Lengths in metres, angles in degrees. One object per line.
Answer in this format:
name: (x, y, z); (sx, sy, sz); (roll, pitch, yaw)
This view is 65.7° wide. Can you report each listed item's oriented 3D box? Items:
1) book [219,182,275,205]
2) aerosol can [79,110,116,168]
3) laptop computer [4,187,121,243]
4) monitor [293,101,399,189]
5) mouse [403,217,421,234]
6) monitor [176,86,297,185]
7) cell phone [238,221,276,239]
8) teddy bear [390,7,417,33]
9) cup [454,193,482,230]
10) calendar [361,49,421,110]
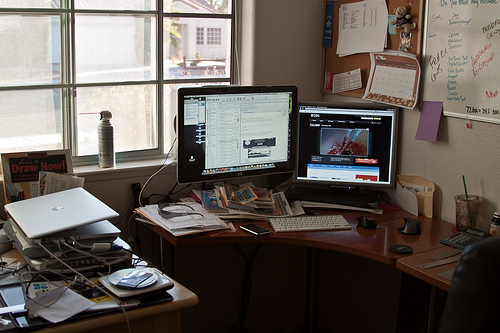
book: (-0.019, 0.145, 2.220); (0.179, 0.042, 0.171); (1, 17, -12)
aerosol can: (-0.854, -0.168, 2.263); (0.199, 0.318, 0.137); (0, 7, 16)
laptop computer: (-0.856, 0.218, 1.717); (0.321, 0.082, 0.413); (-13, 32, -21)
monitor: (0.590, -0.145, 2.298); (0.544, 0.432, 0.062); (3, 5, 8)
mouse: (0.842, 0.311, 2.005); (0.097, 0.060, 0.068); (1, -2, -17)
monitor: (-0.056, -0.195, 2.208); (0.740, 0.518, 0.053); (-6, 12, -23)
cell phone: (0.039, 0.327, 1.982); (0.126, 0.021, 0.222); (-7, 20, -37)
teddy bear: (0.877, -0.841, 2.216); (0.048, 0.134, 0.147); (-8, 13, -31)
cup: (1.137, 0.247, 2.016); (0.141, 0.165, 0.124); (-12, 6, 13)
calendar: (0.842, -0.510, 2.272); (0.107, 0.314, 0.359); (-11, 20, -43)
